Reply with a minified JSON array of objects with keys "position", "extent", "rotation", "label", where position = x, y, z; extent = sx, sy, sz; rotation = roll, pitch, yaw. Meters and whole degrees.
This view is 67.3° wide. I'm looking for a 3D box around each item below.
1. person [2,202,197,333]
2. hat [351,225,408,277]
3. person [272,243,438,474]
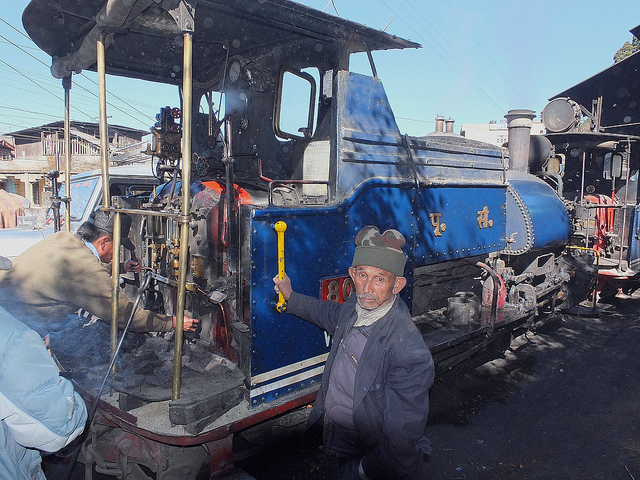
[{"position":[-2.060,0.487,4.548],"extent":[1.603,0.881,1.312],"rotation":[24,15,36],"label":"person"},{"position":[0.440,0.055,3.483],"extent":[0.299,0.306,0.414],"rotation":[14,-16,17],"label":"hat"},{"position":[0.309,0.928,3.558],"extent":[0.552,1.763,1.182],"rotation":[-7,14,-34],"label":"person"}]
